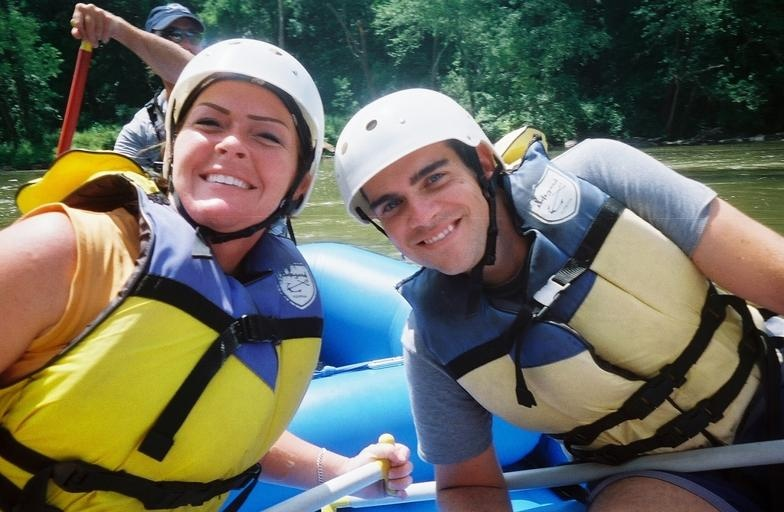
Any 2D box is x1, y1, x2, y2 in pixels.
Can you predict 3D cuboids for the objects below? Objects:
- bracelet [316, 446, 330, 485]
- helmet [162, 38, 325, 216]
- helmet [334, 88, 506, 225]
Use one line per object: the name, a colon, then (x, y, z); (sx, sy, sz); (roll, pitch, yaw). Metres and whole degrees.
bracelet: (-0.290, 0.839, 2.788); (0.035, 0.095, 0.078); (6, 7, -18)
helmet: (-0.546, -0.531, 2.700); (0.474, 0.462, 0.626); (10, 55, -6)
helmet: (0.133, -0.390, 2.794); (0.565, 0.428, 0.421); (0, 54, -52)
